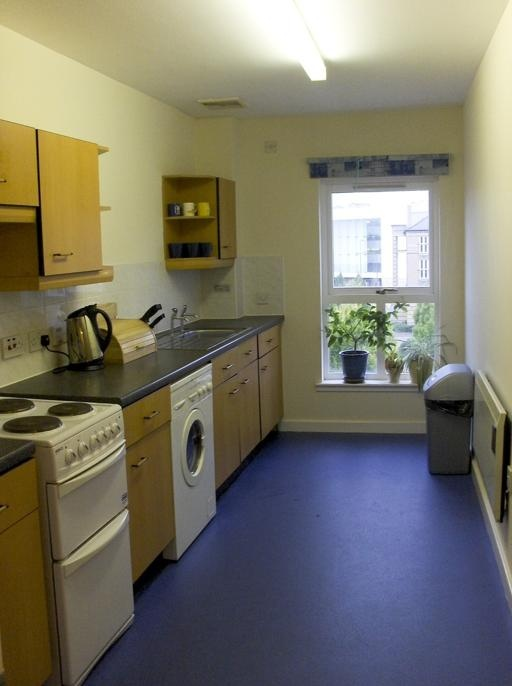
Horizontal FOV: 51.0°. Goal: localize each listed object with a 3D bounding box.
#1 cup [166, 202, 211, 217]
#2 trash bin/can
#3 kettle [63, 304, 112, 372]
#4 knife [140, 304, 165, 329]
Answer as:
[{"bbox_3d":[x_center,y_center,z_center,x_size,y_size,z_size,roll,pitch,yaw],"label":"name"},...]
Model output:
[{"bbox_3d":[-0.473,-0.926,3.748,0.132,0.099,0.234,-1,0,41],"label":"cup"},{"bbox_3d":[1.220,0.529,3.417,0.286,0.678,0.148,1,5,17],"label":"trash bin/can"},{"bbox_3d":[-0.747,-0.010,2.372,0.287,0.335,0.189,-4,9,-32],"label":"kettle"},{"bbox_3d":[-0.581,-0.154,3.048,0.149,0.099,0.403,-13,-7,-11],"label":"knife"}]
